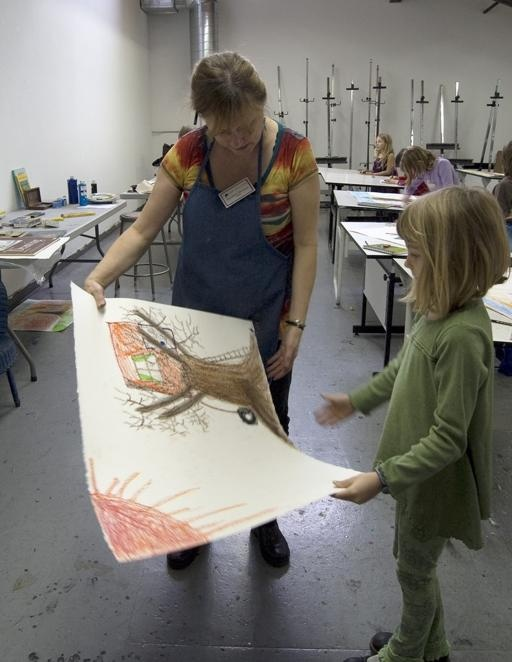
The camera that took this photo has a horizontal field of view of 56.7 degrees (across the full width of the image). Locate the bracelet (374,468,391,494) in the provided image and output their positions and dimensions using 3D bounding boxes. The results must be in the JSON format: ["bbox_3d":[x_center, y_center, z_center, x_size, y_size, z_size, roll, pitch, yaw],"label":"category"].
[{"bbox_3d":[0.181,0.214,0.686,0.014,0.031,0.023,-14,0,2],"label":"bracelet"}]

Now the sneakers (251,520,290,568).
[{"bbox_3d":[0.046,0.675,1.578,0.059,0.121,0.171,-9,30,-34],"label":"sneakers"}]

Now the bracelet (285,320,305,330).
[{"bbox_3d":[0.093,-0.015,1.080,0.051,0.031,0.016,1,-1,23],"label":"bracelet"}]

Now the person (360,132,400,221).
[{"bbox_3d":[1.986,-2.360,7.589,0.437,1.483,0.418,-3,16,-11],"label":"person"}]

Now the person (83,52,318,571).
[{"bbox_3d":[-0.144,-0.016,1.064,0.522,1.148,0.361,-3,11,-22],"label":"person"}]
